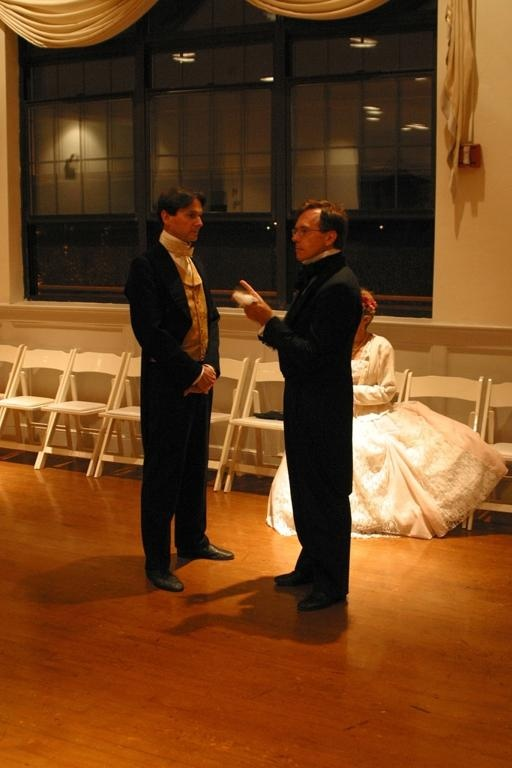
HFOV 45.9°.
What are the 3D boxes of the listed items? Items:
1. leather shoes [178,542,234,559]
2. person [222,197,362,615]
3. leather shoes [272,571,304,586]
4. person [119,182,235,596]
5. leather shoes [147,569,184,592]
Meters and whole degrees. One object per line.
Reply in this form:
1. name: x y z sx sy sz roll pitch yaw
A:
1. leather shoes: -0.250 0.867 3.068 0.261 0.112 0.108 -3 -1 -1
2. person: 0.200 0.104 2.430 0.421 1.320 0.557 1 0 9
3. leather shoes: 0.146 0.876 2.733 0.142 0.062 0.054 2 -4 -8
4. person: -0.369 0.040 2.791 0.396 1.626 0.621 1 0 -3
5. leather shoes: -0.389 0.863 2.664 0.066 0.072 0.171 1 -5 -42
